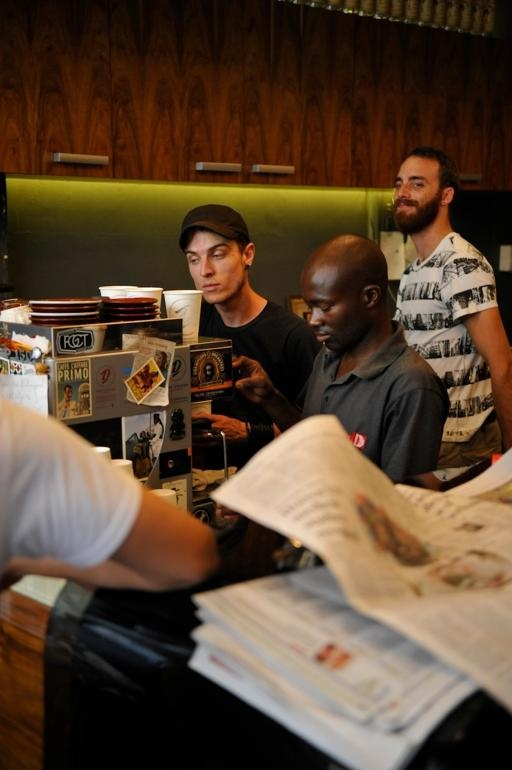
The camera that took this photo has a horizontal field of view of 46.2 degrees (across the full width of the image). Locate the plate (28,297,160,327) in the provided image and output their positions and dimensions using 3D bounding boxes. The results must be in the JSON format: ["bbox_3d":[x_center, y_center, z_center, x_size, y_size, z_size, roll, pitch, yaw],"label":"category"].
[{"bbox_3d":[-0.285,-0.131,1.066,0.117,0.056,0.227,4,5,32],"label":"plate"}]

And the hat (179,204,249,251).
[{"bbox_3d":[-0.140,-0.525,1.954,0.222,0.164,0.167,1,4,2],"label":"hat"}]

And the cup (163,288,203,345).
[{"bbox_3d":[-0.150,-0.144,1.248,0.110,0.125,0.100,-2,-1,0],"label":"cup"}]

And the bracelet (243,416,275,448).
[{"bbox_3d":[0.002,0.106,1.375,0.048,0.027,0.068,-5,7,-33],"label":"bracelet"}]
